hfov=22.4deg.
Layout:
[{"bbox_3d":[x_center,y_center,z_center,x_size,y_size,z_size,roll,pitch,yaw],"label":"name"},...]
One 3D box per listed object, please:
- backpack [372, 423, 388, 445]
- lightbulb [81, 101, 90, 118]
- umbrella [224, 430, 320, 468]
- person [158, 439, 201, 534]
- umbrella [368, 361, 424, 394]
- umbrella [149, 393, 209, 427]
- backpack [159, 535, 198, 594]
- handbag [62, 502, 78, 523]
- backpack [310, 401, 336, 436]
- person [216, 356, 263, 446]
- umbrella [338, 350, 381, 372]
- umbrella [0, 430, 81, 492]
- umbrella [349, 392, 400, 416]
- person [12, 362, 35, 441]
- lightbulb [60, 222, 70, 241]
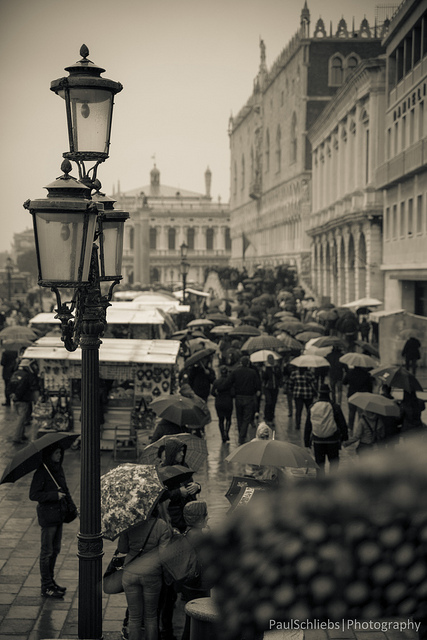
[{"bbox_3d":[1.762,1.190,11.334,0.150,0.187,0.471,1,2,10],"label":"backpack"},{"bbox_3d":[-0.710,-1.175,5.995,0.045,0.084,0.048,0,1,-7],"label":"lightbulb"},{"bbox_3d":[0.579,1.287,10.691,0.718,0.393,0.762,1,-7,4],"label":"umbrella"},{"bbox_3d":[-0.231,1.121,7.258,0.281,0.585,0.712,0,2,-2],"label":"person"},{"bbox_3d":[2.109,0.655,12.323,0.341,0.180,0.342,25,12,41],"label":"umbrella"},{"bbox_3d":[-0.365,0.978,11.409,0.617,0.277,0.800,1,2,1],"label":"umbrella"},{"bbox_3d":[-0.197,1.376,5.946,0.203,0.377,0.379,0,2,-9],"label":"backpack"},{"bbox_3d":[-1.104,1.478,8.283,0.117,0.163,0.139,-2,-17,7],"label":"handbag"},{"bbox_3d":[1.166,1.031,11.271,0.271,0.376,0.191,-7,-13,19],"label":"backpack"},{"bbox_3d":[0.376,1.186,14.851,0.718,1.082,0.300,-1,2,-33],"label":"person"},{"bbox_3d":[2.226,0.627,16.427,0.438,0.173,0.449,2,3,40],"label":"umbrella"},{"bbox_3d":[-1.338,1.082,8.185,0.711,0.431,0.358,-1,2,-34],"label":"umbrella"},{"bbox_3d":[1.742,0.910,11.441,0.496,0.214,0.686,0,2,-4],"label":"umbrella"},{"bbox_3d":[-2.671,1.147,15.176,0.306,1.116,0.420,0,1,-11],"label":"person"},{"bbox_3d":[-0.721,-0.434,5.244,0.046,0.084,0.031,0,1,-15],"label":"lightbulb"}]
